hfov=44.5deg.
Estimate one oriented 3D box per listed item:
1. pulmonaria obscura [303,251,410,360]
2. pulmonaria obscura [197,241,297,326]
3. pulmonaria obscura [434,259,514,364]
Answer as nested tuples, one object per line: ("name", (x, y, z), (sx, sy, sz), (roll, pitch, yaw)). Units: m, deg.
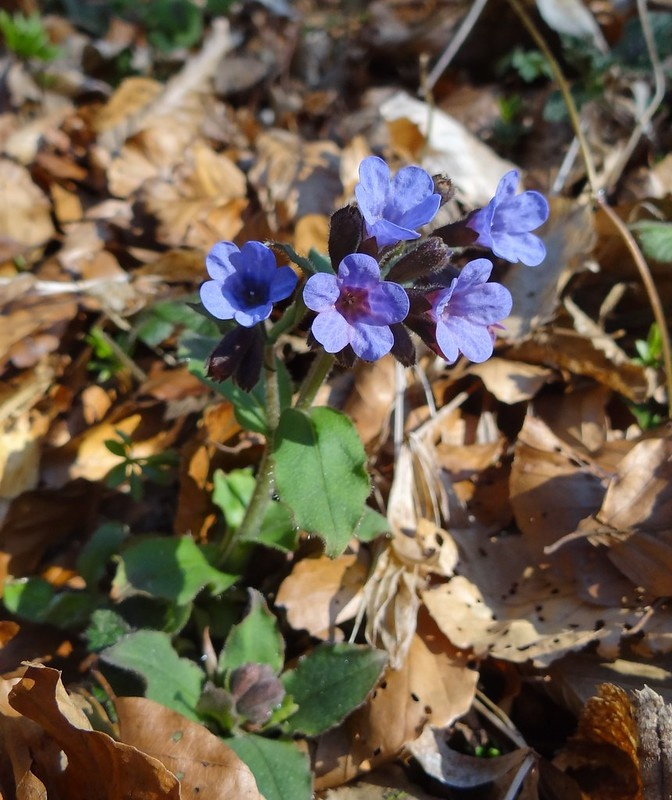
("pulmonaria obscura", (0.035, -0.181, 1.686), (0.166, 0.180, 0.180), (-31, 64, -30))
("pulmonaria obscura", (-0.206, -0.245, 1.711), (0.220, 0.111, 0.187), (-11, 82, -7))
("pulmonaria obscura", (0.245, -0.199, 1.811), (0.082, 0.207, 0.226), (18, 10, 42))
